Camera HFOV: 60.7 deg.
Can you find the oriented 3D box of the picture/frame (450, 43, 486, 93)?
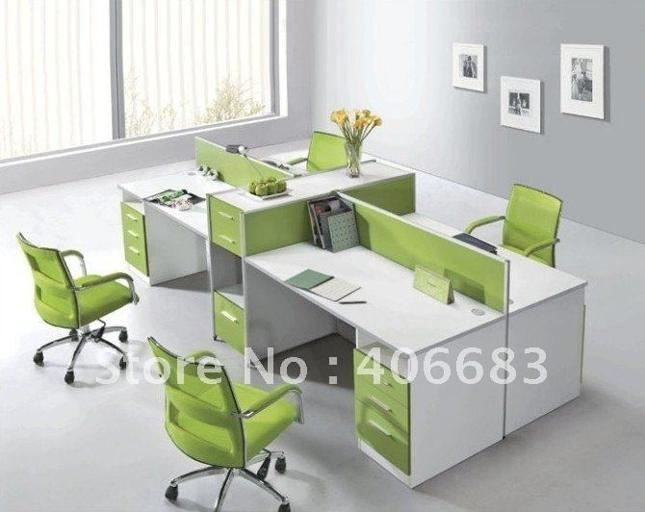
[{"bbox_3d":[1.856,-2.326,6.758,0.038,0.556,0.523,-19,32,-31],"label":"picture/frame"}]

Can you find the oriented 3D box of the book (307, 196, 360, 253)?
[{"bbox_3d":[0.077,-0.231,3.951,0.422,0.483,0.334,-9,6,-19],"label":"book"}]

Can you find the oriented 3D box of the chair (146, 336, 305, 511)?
[{"bbox_3d":[-0.512,0.927,2.921,0.550,0.810,0.562,16,27,33],"label":"chair"}]

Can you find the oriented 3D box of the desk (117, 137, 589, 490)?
[{"bbox_3d":[-0.018,-0.043,4.351,1.746,1.446,3.891,-17,24,-38],"label":"desk"}]

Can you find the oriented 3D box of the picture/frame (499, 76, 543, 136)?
[{"bbox_3d":[2.337,-1.728,6.259,0.024,0.621,0.584,-14,24,-30],"label":"picture/frame"}]

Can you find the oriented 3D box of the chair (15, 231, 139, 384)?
[{"bbox_3d":[-1.717,0.295,3.943,0.720,0.983,0.770,-2,21,-19],"label":"chair"}]

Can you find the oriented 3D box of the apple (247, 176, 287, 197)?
[{"bbox_3d":[-0.363,-0.488,3.882,0.172,0.075,0.181,6,15,24],"label":"apple"}]

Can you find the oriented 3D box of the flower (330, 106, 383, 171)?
[{"bbox_3d":[0.267,-0.848,4.193,0.353,0.439,0.356,-11,23,-39],"label":"flower"}]
